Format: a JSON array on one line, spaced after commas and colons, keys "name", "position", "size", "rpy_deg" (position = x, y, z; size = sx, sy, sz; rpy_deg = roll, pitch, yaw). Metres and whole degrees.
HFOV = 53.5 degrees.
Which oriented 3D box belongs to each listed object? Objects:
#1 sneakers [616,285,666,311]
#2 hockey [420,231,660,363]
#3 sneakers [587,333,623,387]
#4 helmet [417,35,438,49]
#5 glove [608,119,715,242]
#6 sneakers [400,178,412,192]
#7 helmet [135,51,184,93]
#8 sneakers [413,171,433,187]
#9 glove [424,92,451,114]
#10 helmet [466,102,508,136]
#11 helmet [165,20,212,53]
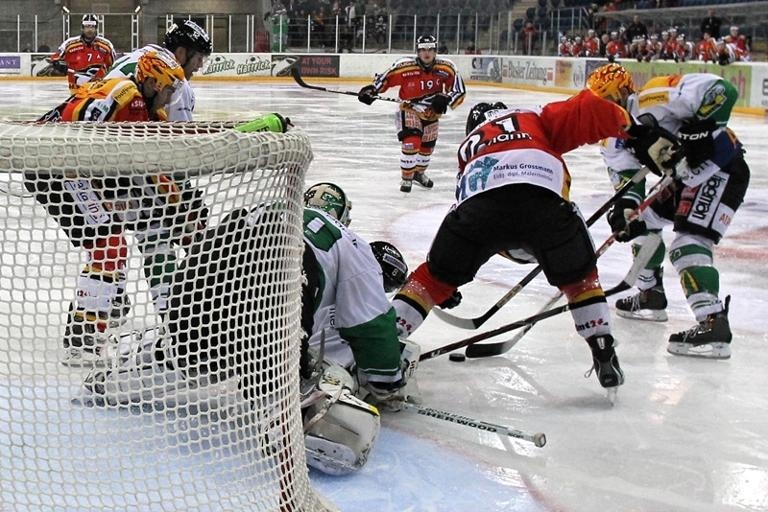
[{"name": "sneakers", "position": [1.283, 0.205, 3.844], "size": [0.281, 0.166, 0.096], "rpy_deg": [3, 6, 20]}, {"name": "hockey", "position": [0.665, 0.193, 3.234], "size": [0.975, 0.160, 0.184], "rpy_deg": [-22, 54, -2]}, {"name": "sneakers", "position": [0.819, 0.386, 2.812], "size": [0.086, 0.159, 0.243], "rpy_deg": [-13, 7, 17]}, {"name": "helmet", "position": [0.430, -2.116, 7.651], "size": [0.201, 0.134, 0.267], "rpy_deg": [0, 14, 0]}, {"name": "glove", "position": [1.200, -0.339, 3.259], "size": [0.480, 0.558, 0.234], "rpy_deg": [5, -14, 43]}, {"name": "sneakers", "position": [0.186, -0.595, 6.473], "size": [0.116, 0.100, 0.084], "rpy_deg": [0, -8, 24]}, {"name": "helmet", "position": [-0.967, -0.795, 3.271], "size": [0.201, 0.176, 0.150], "rpy_deg": [0, 52, -24]}, {"name": "sneakers", "position": [0.373, -0.689, 6.878], "size": [0.233, 0.097, 0.083], "rpy_deg": [29, 46, 36]}, {"name": "glove", "position": [0.526, -1.477, 7.421], "size": [0.246, 0.213, 0.200], "rpy_deg": [-25, 40, -27]}, {"name": "helmet", "position": [0.408, -0.565, 3.137], "size": [0.150, 0.172, 0.178], "rpy_deg": [2, 11, -3]}, {"name": "helmet", "position": [-1.058, -1.197, 4.229], "size": [0.267, 0.238, 0.218], "rpy_deg": [-6, 26, -19]}]
